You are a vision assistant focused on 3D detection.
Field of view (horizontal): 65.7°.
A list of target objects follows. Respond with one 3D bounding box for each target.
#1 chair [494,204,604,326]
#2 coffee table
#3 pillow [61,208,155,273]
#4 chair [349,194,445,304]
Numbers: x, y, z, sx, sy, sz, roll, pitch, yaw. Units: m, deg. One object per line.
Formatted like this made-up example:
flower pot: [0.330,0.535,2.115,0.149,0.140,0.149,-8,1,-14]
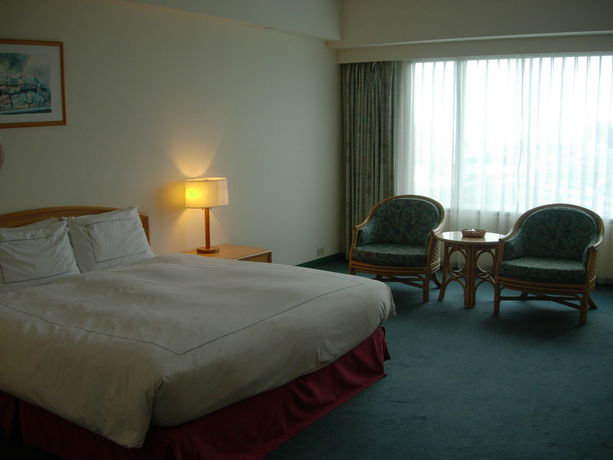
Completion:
chair: [2.565,0.274,5.354,1.126,1.559,1.253,3,5,37]
coffee table: [1.879,0.316,5.687,0.825,1.001,0.878,5,10,38]
pillow: [-1.797,0.106,4.194,0.169,0.354,0.488,-41,-14,33]
chair: [1.102,0.142,5.990,1.088,1.424,1.228,4,8,28]
